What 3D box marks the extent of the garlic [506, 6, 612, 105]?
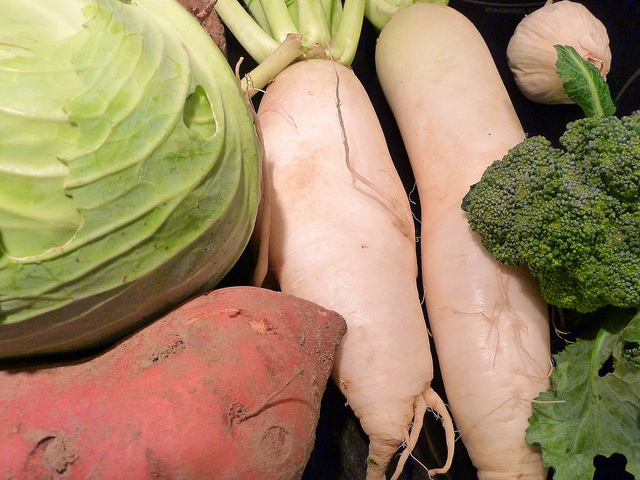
[{"bbox_3d":[0.603,-0.459,1.435,0.220,0.198,0.171,-6,55,2],"label":"garlic"}]
